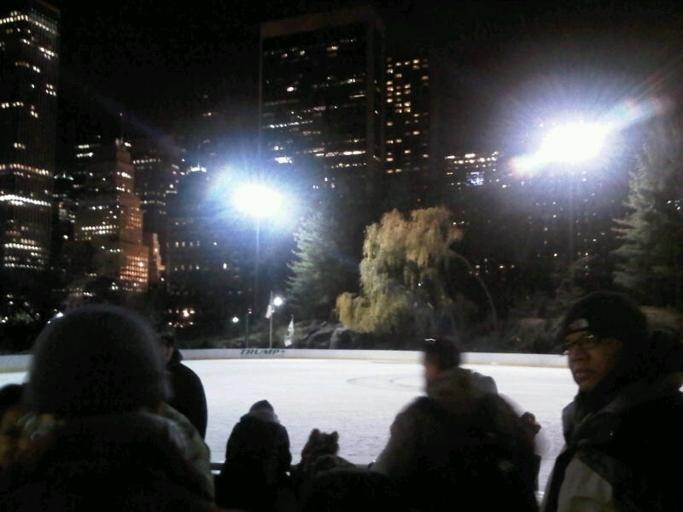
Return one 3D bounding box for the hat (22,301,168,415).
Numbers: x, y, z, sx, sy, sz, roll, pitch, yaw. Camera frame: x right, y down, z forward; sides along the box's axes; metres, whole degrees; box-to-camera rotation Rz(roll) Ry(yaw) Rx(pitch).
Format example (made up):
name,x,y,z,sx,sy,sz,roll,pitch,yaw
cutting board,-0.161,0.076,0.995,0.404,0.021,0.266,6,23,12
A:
name,x,y,z,sx,sy,sz,roll,pitch,yaw
hat,-1.280,0.504,3.386,0.535,0.470,0.563,-5,-3,10
